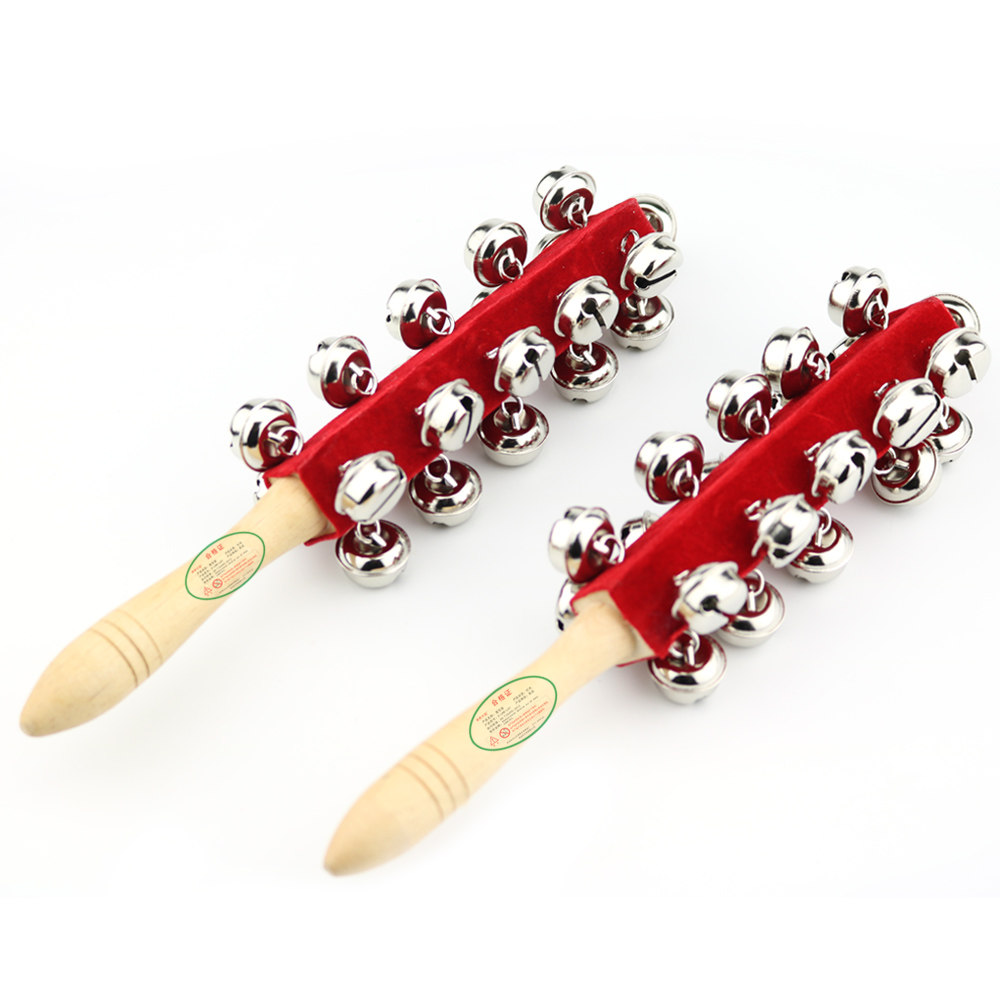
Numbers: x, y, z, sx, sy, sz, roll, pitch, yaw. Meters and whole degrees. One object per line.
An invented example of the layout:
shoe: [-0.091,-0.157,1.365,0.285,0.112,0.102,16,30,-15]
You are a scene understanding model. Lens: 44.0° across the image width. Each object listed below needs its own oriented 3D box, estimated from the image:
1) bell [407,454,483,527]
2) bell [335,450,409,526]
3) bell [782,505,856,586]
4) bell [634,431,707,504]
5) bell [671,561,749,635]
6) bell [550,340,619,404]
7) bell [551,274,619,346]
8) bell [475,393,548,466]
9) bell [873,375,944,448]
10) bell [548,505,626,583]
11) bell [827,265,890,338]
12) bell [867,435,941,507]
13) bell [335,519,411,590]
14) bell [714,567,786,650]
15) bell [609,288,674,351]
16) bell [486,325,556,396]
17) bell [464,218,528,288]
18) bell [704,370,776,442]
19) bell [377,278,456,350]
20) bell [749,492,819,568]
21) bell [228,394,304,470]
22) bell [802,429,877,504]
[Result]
bell: [-0.084,-0.011,1.936,0.103,0.111,0.105,-10,-39,3]
bell: [-0.188,-0.015,1.676,0.056,0.101,0.116,-41,-81,11]
bell: [0.472,0.068,1.870,0.114,0.101,0.095,-5,-33,2]
bell: [0.234,-0.050,1.742,0.094,0.041,0.099,-30,-69,-13]
bell: [0.274,0.126,1.568,0.038,0.077,0.097,14,-73,-46]
bell: [0.135,-0.204,2.086,0.109,0.099,0.118,-10,-26,-1]
bell: [0.123,-0.303,1.952,0.086,0.114,0.063,-37,-41,-7]
bell: [0.019,-0.120,1.968,0.106,0.105,0.100,-41,-20,-20]
bell: [0.590,-0.112,1.797,0.111,0.066,0.116,-54,-7,2]
bell: [0.115,0.055,1.690,0.087,0.110,0.083,-31,-58,-25]
bell: [0.568,-0.303,1.956,0.090,0.056,0.114,-42,-23,-7]
bell: [0.628,-0.045,1.902,0.109,0.095,0.038,-19,-34,-3]
bell: [-0.192,0.078,1.836,0.047,0.107,0.102,96,-161,-47]
bell: [0.367,0.163,1.800,0.105,0.106,0.046,-6,-33,9]
bell: [0.247,-0.306,2.154,0.103,0.092,0.069,-50,-4,-6]
bell: [0.028,-0.211,1.840,0.079,0.082,0.083,-53,-36,2]
bell: [-0.011,-0.405,2.032,0.102,0.046,0.108,-24,-59,-20]
bell: [0.351,-0.135,1.770,0.094,0.040,0.097,-19,-58,-17]
bell: [-0.115,-0.283,1.882,0.118,0.055,0.091,34,-94,-9]
bell: [0.378,0.040,1.668,0.080,0.109,0.050,-50,-58,-14]
bell: [-0.347,-0.095,1.777,0.093,0.119,0.063,-31,-35,11]
bell: [0.468,-0.052,1.740,0.111,0.084,0.077,-41,-40,-31]
